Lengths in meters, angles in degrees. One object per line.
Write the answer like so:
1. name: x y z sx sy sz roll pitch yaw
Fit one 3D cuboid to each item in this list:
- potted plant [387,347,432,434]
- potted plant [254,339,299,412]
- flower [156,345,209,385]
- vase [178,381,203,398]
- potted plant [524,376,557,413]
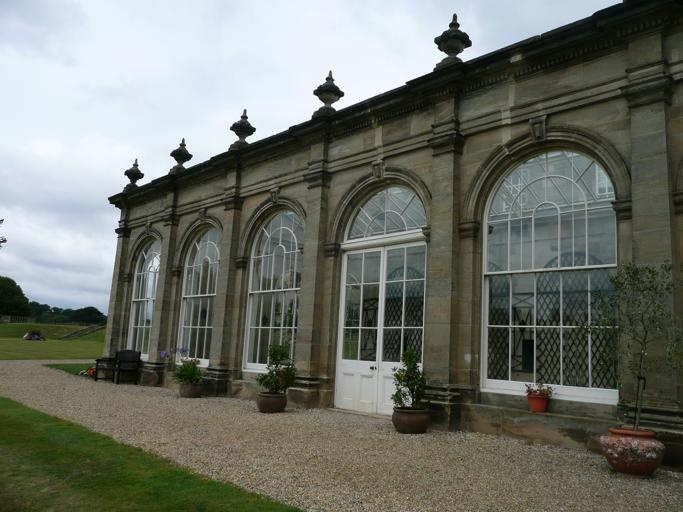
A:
1. potted plant: 1.350 2.482 10.028 0.677 1.455 1.054 -1 -5 17
2. potted plant: -1.459 2.711 12.145 0.845 1.456 1.345 1 -5 -6
3. flower: -4.575 3.131 15.633 0.899 1.124 3.104 5 -15 -31
4. vase: -3.965 3.488 14.002 0.430 0.244 0.434 2 -10 -11
5. potted plant: 3.457 2.444 9.341 0.490 0.599 0.458 3 -9 -6
